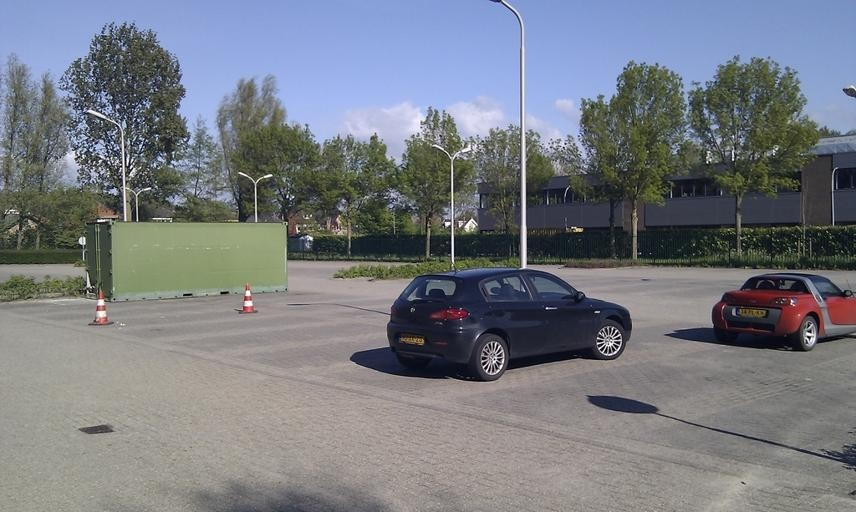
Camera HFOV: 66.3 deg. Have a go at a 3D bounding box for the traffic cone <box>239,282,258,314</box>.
[{"bbox_3d":[-6.808,1.603,24.605,0.768,1.085,0.788,4,7,36],"label":"traffic cone"}]

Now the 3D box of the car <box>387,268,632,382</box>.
[{"bbox_3d":[1.815,1.310,14.381,4.406,1.675,2.258,-4,4,-33],"label":"car"}]
